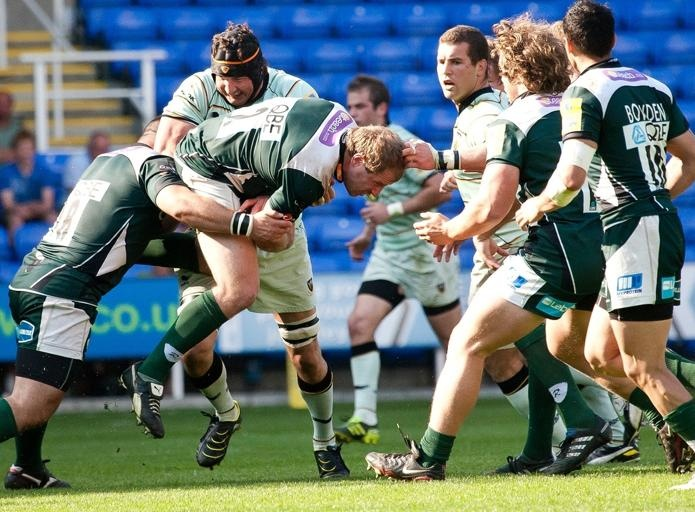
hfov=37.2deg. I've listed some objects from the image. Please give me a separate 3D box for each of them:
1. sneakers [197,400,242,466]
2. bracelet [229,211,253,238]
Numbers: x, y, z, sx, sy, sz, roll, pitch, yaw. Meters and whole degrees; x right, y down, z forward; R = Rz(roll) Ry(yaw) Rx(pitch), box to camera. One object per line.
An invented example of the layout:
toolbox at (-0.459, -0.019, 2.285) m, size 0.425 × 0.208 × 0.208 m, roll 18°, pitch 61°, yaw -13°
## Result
sneakers at (-0.916, 1.262, 7.349) m, size 0.188 × 0.489 × 0.270 m, roll 18°, pitch -19°, yaw 23°
bracelet at (-0.642, -0.187, 6.187) m, size 0.118 × 0.145 × 0.135 m, roll 2°, pitch 4°, yaw 0°
